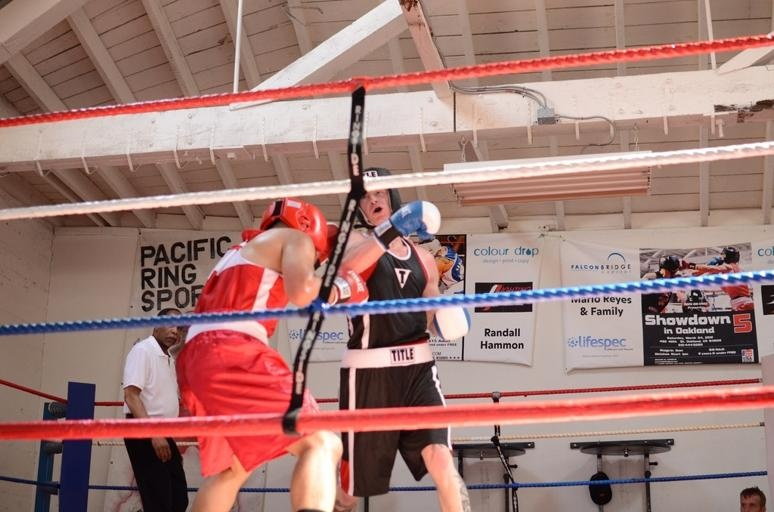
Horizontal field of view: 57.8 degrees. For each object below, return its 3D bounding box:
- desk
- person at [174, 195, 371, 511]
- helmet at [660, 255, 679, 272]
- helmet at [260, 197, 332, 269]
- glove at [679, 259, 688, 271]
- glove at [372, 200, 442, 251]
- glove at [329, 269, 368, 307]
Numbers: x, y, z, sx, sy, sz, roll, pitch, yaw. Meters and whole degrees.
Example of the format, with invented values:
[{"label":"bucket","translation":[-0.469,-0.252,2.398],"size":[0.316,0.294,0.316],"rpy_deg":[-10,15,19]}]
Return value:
[{"label":"desk","translation":[1.642,2.011,6.352],"size":[1.682,0.542,0.545],"rpy_deg":[-4,-39,8]},{"label":"person","translation":[-0.569,0.419,3.249],"size":[0.905,1.502,0.579],"rpy_deg":[0,-16,4]},{"label":"helmet","translation":[2.853,0.090,7.137],"size":[0.138,0.170,0.183],"rpy_deg":[17,-17,26]},{"label":"helmet","translation":[-0.430,-0.127,3.569],"size":[0.379,0.295,0.272],"rpy_deg":[19,-41,-27]},{"label":"glove","translation":[2.988,0.093,7.076],"size":[0.081,0.087,0.096],"rpy_deg":[6,-49,13]},{"label":"glove","translation":[0.106,-0.129,3.437],"size":[0.302,0.200,0.125],"rpy_deg":[-43,-13,6]},{"label":"glove","translation":[-0.170,0.152,3.241],"size":[0.073,0.169,0.229],"rpy_deg":[-13,-20,39]}]
